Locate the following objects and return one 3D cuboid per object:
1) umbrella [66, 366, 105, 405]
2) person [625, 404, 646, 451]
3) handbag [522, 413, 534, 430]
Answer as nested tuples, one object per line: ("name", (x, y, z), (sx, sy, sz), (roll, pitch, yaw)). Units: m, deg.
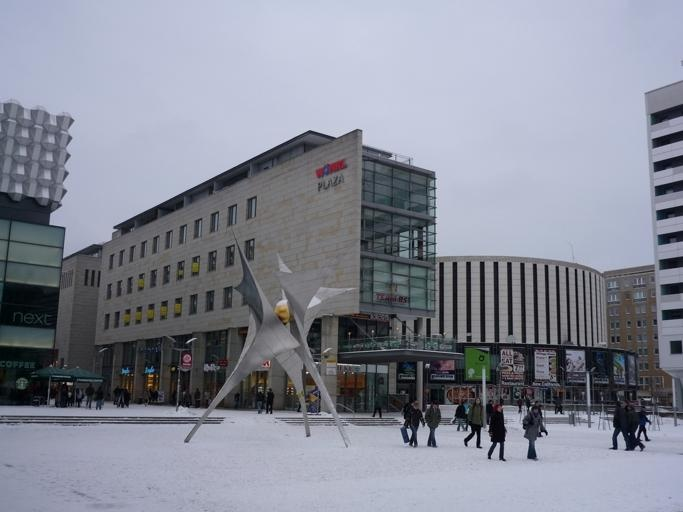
("umbrella", (-21.213, 10.242, 46.048), (2.929, 2.278, 3.260), (-4, -13, 37))
("person", (11.675, 6.773, 23.165), (1.004, 1.829, 0.705), (-1, -1, 24))
("handbag", (6.137, 5.432, 18.859), (0.401, 0.529, 0.417), (-3, -15, 5))
